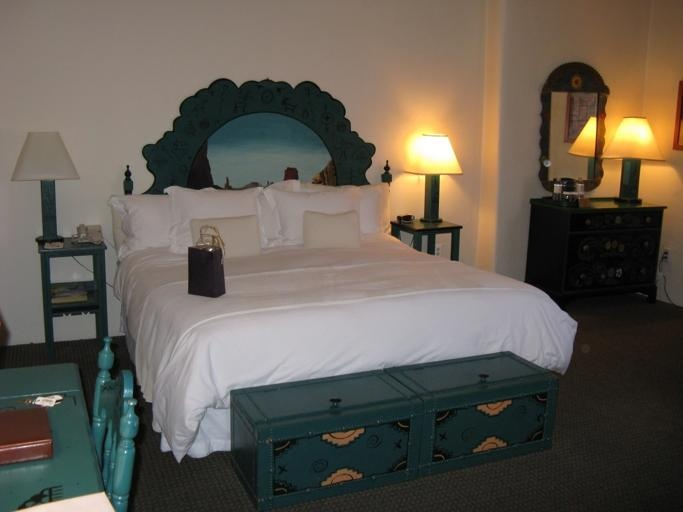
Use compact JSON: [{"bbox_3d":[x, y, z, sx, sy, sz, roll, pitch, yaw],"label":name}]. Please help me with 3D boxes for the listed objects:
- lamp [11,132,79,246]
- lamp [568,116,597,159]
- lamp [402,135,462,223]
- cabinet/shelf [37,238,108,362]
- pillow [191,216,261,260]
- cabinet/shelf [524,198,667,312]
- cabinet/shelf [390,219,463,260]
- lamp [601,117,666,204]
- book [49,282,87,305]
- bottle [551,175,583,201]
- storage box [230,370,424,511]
[{"bbox_3d":[-2.154,-0.513,3.946,0.420,0.785,0.291,-5,14,-25],"label":"lamp"},{"bbox_3d":[2.571,-1.239,5.556,0.310,0.336,0.278,1,21,22],"label":"lamp"},{"bbox_3d":[0.873,-0.721,5.127,0.550,0.765,0.579,5,14,12],"label":"lamp"},{"bbox_3d":[-2.023,0.277,4.108,0.482,0.843,0.487,-6,15,-30],"label":"cabinet/shelf"},{"bbox_3d":[-0.778,-0.155,3.967,0.410,0.325,0.097,-5,-5,-27],"label":"pillow"},{"bbox_3d":[2.363,-0.172,5.487,1.463,1.454,0.914,-3,11,-10],"label":"cabinet/shelf"},{"bbox_3d":[0.794,-0.231,5.078,0.469,0.474,0.469,-8,16,-30],"label":"cabinet/shelf"},{"bbox_3d":[2.896,-0.954,5.346,0.564,0.828,0.362,2,12,3],"label":"lamp"},{"bbox_3d":[-2.041,0.284,4.044,0.180,0.050,0.185,-5,16,-29],"label":"book"},{"bbox_3d":[2.179,-0.667,5.250,0.225,0.309,0.319,1,14,3],"label":"bottle"},{"bbox_3d":[-0.057,0.888,2.599,0.903,0.529,0.523,-4,16,-20],"label":"storage box"}]
